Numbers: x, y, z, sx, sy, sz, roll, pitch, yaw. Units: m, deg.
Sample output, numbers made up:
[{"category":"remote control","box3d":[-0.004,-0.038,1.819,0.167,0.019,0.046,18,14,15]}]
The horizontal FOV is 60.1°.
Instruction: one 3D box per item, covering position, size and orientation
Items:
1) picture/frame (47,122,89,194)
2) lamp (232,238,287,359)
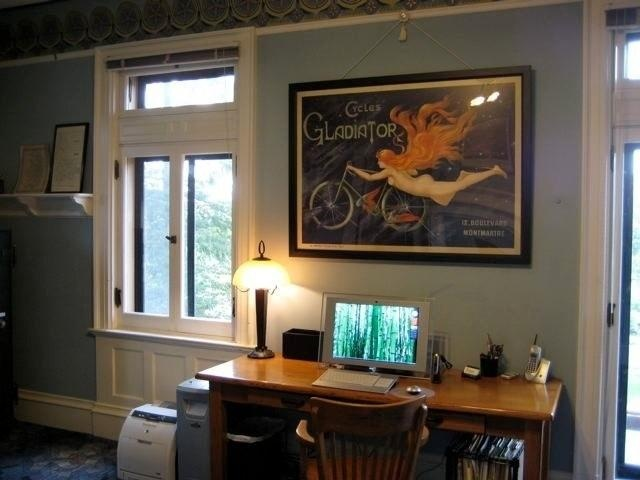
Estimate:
[{"category":"picture/frame","box3d":[-2.004,-0.641,4.454,0.484,0.740,0.052,7,-1,23]},{"category":"lamp","box3d":[-0.421,0.416,3.895,0.374,0.787,0.391,-2,8,-14]}]
